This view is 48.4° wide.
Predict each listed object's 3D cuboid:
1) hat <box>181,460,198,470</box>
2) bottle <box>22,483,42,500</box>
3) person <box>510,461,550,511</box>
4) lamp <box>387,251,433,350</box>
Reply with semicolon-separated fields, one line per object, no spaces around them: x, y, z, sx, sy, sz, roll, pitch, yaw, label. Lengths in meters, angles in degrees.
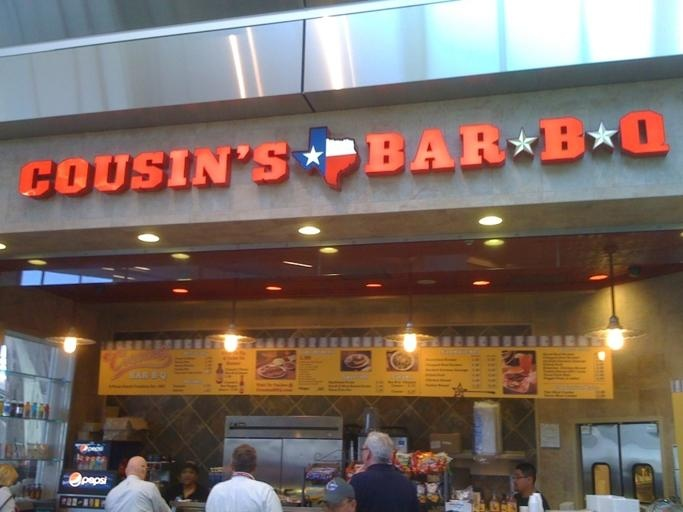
-1.867;2.574;9.283;0.169;0.112;0.162;1;-11;24;hat
-3.553;2.690;8.652;0.090;0.185;0.226;-3;-16;10;bottle
1.882;2.306;7.552;0.405;0.642;0.765;3;-19;14;person
0.665;0.519;7.609;0.515;0.795;0.473;-12;7;-5;lamp
